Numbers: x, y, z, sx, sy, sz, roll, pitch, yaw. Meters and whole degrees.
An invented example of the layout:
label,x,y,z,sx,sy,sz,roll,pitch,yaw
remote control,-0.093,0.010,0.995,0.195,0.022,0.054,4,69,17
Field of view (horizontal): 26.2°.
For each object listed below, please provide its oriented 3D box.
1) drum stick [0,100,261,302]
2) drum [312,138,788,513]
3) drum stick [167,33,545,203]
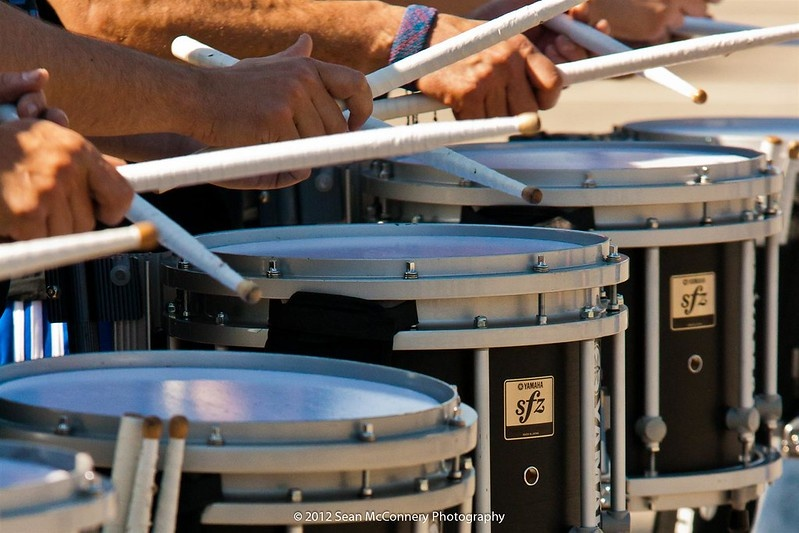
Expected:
label,x,y,z,sx,sy,sz,roll,pitch,yaw
drum stick,-0.602,-0.147,3.783,0.085,0.749,0.080,-49,-14,-42
drum,0.462,0.123,5.003,1.217,0.769,1.106,0,11,4
drum stick,-0.106,-0.380,4.190,1.249,0.087,0.092,21,-45,-12
